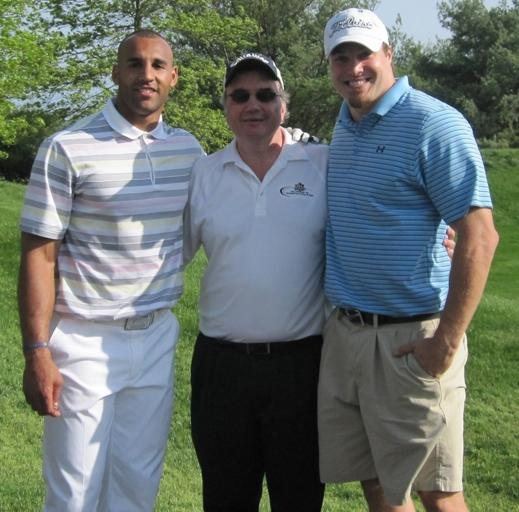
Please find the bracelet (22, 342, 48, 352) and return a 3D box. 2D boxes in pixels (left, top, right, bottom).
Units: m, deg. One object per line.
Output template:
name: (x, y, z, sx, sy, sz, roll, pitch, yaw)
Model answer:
bracelet: (-1.169, 0.476, 3.773, 0.122, 0.068, 0.058, 4, 8, -12)
